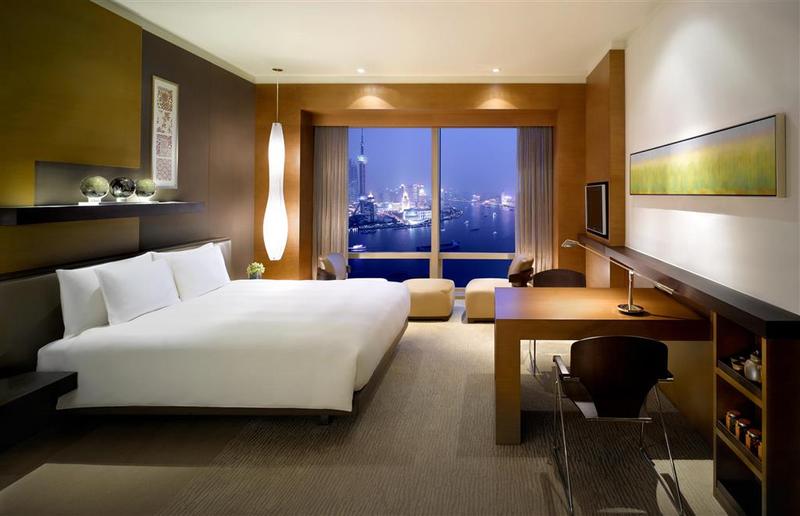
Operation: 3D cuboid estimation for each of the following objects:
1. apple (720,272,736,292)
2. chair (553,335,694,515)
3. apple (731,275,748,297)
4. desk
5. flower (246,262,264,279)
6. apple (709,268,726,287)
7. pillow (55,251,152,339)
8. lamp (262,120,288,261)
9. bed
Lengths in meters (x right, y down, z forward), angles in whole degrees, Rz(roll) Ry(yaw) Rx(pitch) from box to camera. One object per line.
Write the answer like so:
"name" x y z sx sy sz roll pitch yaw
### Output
"apple" 2.447 0.184 3.902 0.104 0.160 0.108 3 6 -23
"chair" 1.585 1.110 3.905 0.888 1.526 1.276 -1 0 12
"apple" 2.434 0.210 3.781 0.109 0.168 0.117 -3 0 -5
"desk" 1.512 0.809 4.588 1.266 0.802 1.297 0 4 3
"flower" -2.034 0.175 7.388 0.224 0.251 0.236 -1 2 -17
"apple" 2.462 0.154 4.053 0.103 0.155 0.108 5 10 38
"pillow" -2.706 0.365 4.747 0.176 0.424 0.650 -14 8 24
"lamp" -1.808 -0.954 7.470 0.313 1.926 0.330 -3 9 -16
"bed" -1.485 0.816 5.177 2.831 0.672 1.812 0 10 2
